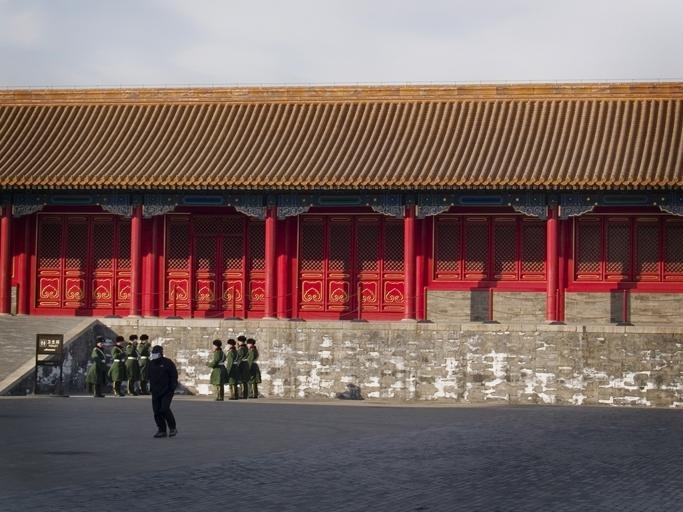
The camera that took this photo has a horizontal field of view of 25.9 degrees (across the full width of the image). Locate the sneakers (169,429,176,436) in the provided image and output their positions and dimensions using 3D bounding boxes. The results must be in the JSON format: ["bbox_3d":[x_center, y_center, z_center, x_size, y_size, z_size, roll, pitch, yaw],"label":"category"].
[{"bbox_3d":[-3.783,3.964,33.112,0.181,0.177,0.458,1,0,-3],"label":"sneakers"}]

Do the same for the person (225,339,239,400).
[{"bbox_3d":[-2.988,3.123,40.317,0.358,1.623,0.713,0,-6,-3],"label":"person"}]

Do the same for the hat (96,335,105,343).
[{"bbox_3d":[-6.667,2.315,40.673,0.255,0.189,0.184,-3,4,2],"label":"hat"}]

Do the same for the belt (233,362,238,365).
[{"bbox_3d":[-2.884,2.944,40.163,0.053,0.125,0.222,-2,-6,19],"label":"belt"}]

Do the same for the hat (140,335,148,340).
[{"bbox_3d":[-5.436,2.288,40.757,0.181,0.124,0.181,0,-5,22],"label":"hat"}]

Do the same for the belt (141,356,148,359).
[{"bbox_3d":[-5.450,2.843,40.775,0.209,0.092,0.051,1,-6,-20],"label":"belt"}]

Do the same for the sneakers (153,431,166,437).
[{"bbox_3d":[-4.075,3.993,32.980,0.276,0.114,0.118,4,1,5],"label":"sneakers"}]

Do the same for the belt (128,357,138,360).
[{"bbox_3d":[-5.737,2.833,40.624,0.284,0.092,0.070,2,-6,-22],"label":"belt"}]

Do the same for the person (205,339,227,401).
[{"bbox_3d":[-3.349,3.094,39.869,0.494,1.630,1.179,0,-6,-4],"label":"person"}]

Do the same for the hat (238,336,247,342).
[{"bbox_3d":[-2.739,2.318,40.756,0.176,0.132,0.127,7,-7,-32],"label":"hat"}]

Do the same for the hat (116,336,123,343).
[{"bbox_3d":[-6.166,2.365,41.255,0.184,0.165,0.169,-5,7,-41],"label":"hat"}]

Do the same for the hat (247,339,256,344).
[{"bbox_3d":[-2.543,2.404,40.850,0.184,0.137,0.183,0,0,18],"label":"hat"}]

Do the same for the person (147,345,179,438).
[{"bbox_3d":[-4.023,3.071,33.426,0.613,2.054,0.827,0,-6,-8],"label":"person"}]

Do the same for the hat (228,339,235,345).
[{"bbox_3d":[-3.014,2.384,40.254,0.164,0.123,0.135,6,9,26],"label":"hat"}]

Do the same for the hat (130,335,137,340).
[{"bbox_3d":[-5.786,2.287,41.019,0.151,0.137,0.159,1,-13,0],"label":"hat"}]
